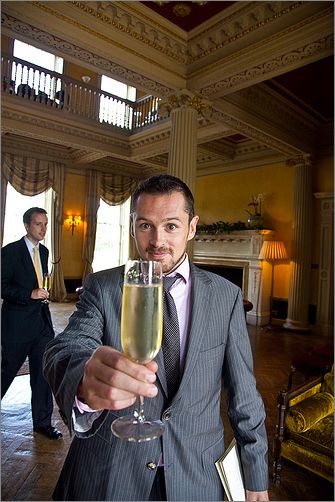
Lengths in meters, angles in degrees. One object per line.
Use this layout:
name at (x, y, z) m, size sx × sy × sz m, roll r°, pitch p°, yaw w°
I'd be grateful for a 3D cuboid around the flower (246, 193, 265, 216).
flower at (2.090, -1.110, 8.214) m, size 0.514 × 0.726 × 0.493 m, roll 4°, pitch 6°, yaw 18°

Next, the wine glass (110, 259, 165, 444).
wine glass at (-0.057, 0.197, 0.724) m, size 0.106 × 0.361 × 0.227 m, roll 2°, pitch 3°, yaw -1°

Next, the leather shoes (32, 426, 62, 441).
leather shoes at (-0.928, 1.371, 2.684) m, size 0.223 × 0.089 × 0.082 m, roll 1°, pitch -9°, yaw 20°
